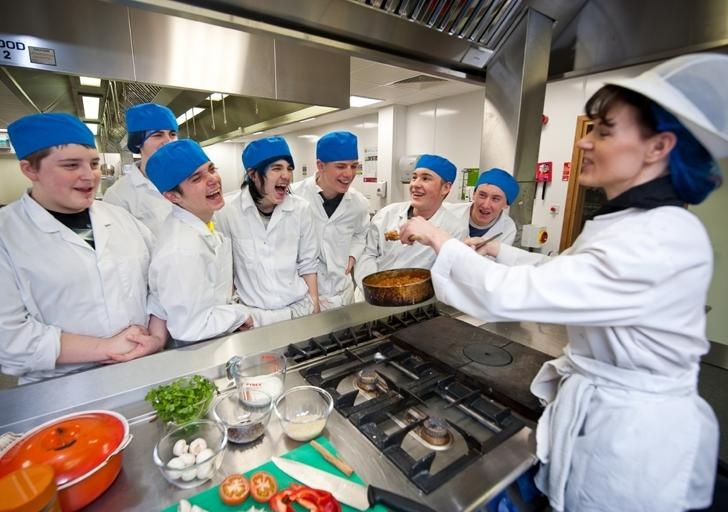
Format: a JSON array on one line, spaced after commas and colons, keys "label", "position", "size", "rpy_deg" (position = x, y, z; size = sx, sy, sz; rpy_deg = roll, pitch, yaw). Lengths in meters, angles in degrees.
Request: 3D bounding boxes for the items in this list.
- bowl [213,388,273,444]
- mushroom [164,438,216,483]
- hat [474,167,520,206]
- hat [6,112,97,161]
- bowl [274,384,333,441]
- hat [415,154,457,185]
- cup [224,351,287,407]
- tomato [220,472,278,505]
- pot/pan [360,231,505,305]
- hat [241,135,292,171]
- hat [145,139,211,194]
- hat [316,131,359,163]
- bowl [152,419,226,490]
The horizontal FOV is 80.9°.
[{"label": "bowl", "position": [-0.399, 0.537, 1.436], "size": [0.182, 0.129, 0.149], "rpy_deg": [-11, 19, -24]}, {"label": "mushroom", "position": [-0.519, 0.610, 1.280], "size": [0.109, 0.059, 0.108], "rpy_deg": [3, 5, -3]}, {"label": "hat", "position": [0.816, -0.399, 2.612], "size": [0.220, 0.121, 0.177], "rpy_deg": [15, 31, -45]}, {"label": "hat", "position": [-1.234, -0.482, 1.666], "size": [0.202, 0.127, 0.263], "rpy_deg": [-20, 26, -27]}, {"label": "bowl", "position": [-0.187, 0.534, 1.411], "size": [0.186, 0.094, 0.183], "rpy_deg": [-5, 42, 5]}, {"label": "hat", "position": [0.446, -0.517, 2.576], "size": [0.209, 0.106, 0.168], "rpy_deg": [17, 27, -27]}, {"label": "cup", "position": [-0.374, 0.442, 1.544], "size": [0.154, 0.110, 0.189], "rpy_deg": [-8, 11, -33]}, {"label": "tomato", "position": [-0.339, 0.682, 1.254], "size": [0.132, 0.036, 0.080], "rpy_deg": [-2, 30, -11]}, {"label": "pot/pan", "position": [0.251, -0.012, 1.841], "size": [0.524, 0.191, 0.299], "rpy_deg": [-13, 17, -36]}, {"label": "hat", "position": [-0.534, -0.522, 2.296], "size": [0.228, 0.123, 0.168], "rpy_deg": [-7, 22, 42]}, {"label": "hat", "position": [-0.809, -0.394, 1.951], "size": [0.266, 0.199, 0.212], "rpy_deg": [-32, 36, 15]}, {"label": "hat", "position": [-0.166, -0.696, 2.707], "size": [0.210, 0.129, 0.207], "rpy_deg": [-2, 16, -5]}, {"label": "bowl", "position": [-0.523, 0.619, 1.308], "size": [0.193, 0.104, 0.186], "rpy_deg": [1, 26, 0]}]
